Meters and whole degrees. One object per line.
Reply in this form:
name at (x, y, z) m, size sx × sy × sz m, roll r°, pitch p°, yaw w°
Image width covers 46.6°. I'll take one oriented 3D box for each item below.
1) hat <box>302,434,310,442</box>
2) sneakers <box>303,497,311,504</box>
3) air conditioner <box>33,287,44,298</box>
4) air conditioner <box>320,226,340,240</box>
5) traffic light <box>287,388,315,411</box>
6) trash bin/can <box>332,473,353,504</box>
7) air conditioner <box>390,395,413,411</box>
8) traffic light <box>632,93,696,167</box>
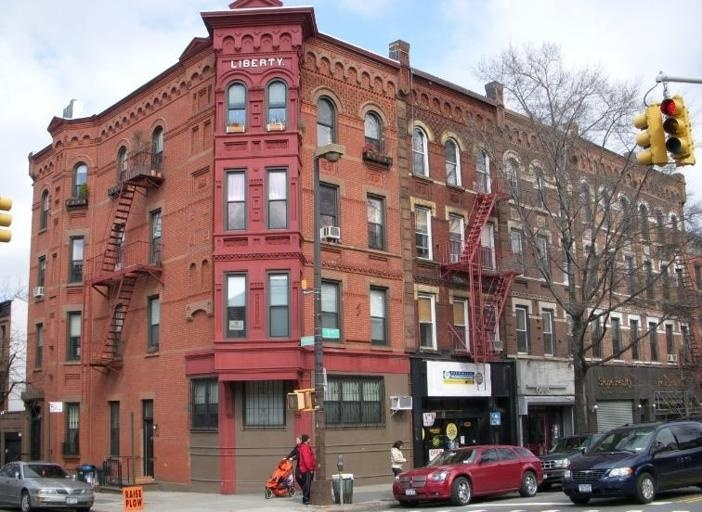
hat at (-1.638, 6.563, 29.363) m, size 0.233 × 0.336 × 0.323 m, roll 5°, pitch 6°, yaw 2°
sneakers at (-1.542, 8.532, 28.389) m, size 0.229 × 0.241 × 0.163 m, roll -3°, pitch -12°, yaw 11°
air conditioner at (-16.072, 1.851, 41.945) m, size 0.417 × 0.570 × 0.812 m, roll -4°, pitch -4°, yaw -11°
air conditioner at (-0.849, -0.990, 34.366) m, size 0.599 × 0.542 × 0.588 m, roll 9°, pitch -17°, yaw -34°
traffic light at (-1.728, 4.980, 28.194) m, size 0.585 × 0.630 × 0.903 m, roll -6°, pitch -8°, yaw 45°
trash bin/can at (-0.335, 8.162, 28.637) m, size 0.926 × 1.181 × 0.962 m, roll 2°, pitch -17°, yaw -6°
air conditioner at (2.156, 6.558, 35.193) m, size 1.028 × 0.789 × 0.587 m, roll 10°, pitch -17°, yaw -39°
traffic light at (7.816, -3.050, 20.442) m, size 1.296 × 1.872 × 1.135 m, roll -9°, pitch -21°, yaw 16°
